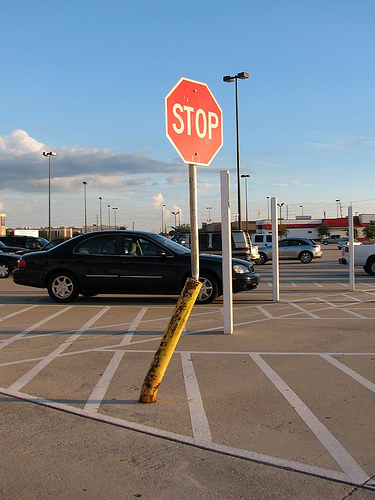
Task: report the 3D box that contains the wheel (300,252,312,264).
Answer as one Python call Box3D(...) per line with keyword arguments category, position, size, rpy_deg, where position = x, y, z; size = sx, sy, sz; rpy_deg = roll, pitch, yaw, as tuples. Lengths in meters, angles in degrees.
Box3D(category="wheel", position=(8.293, 0.477, 28.339), size=(0.758, 0.742, 0.249), rpy_deg=(-5, 0, -4))

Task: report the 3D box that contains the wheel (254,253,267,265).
Box3D(category="wheel", position=(4.695, 0.510, 26.346), size=(0.778, 0.761, 0.252), rpy_deg=(8, 1, -8))

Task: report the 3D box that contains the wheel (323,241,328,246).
Box3D(category="wheel", position=(25.678, -1.358, 75.432), size=(0.865, 0.845, 0.222), rpy_deg=(0, 0, -8))

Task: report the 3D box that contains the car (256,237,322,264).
Box3D(category="car", position=(7.242, -0.030, 28.224), size=(4.605, 1.691, 1.960), rpy_deg=(2, -1, 3))

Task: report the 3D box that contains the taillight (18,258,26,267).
Box3D(category="taillight", position=(-4.394, 0.324, 10.729), size=(0.248, 0.234, 0.160), rpy_deg=(-1, 2, -6))

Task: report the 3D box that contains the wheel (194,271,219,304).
Box3D(category="wheel", position=(0.414, 0.940, 10.003), size=(0.711, 0.697, 0.243), rpy_deg=(11, -1, 26))

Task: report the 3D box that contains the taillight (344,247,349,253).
Box3D(category="taillight", position=(7.144, -0.040, 18.153), size=(0.173, 0.168, 0.166), rpy_deg=(-1, 1, -43))

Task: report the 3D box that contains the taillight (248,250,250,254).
Box3D(category="taillight", position=(3.315, 0.076, 21.881), size=(0.132, 0.121, 0.218), rpy_deg=(-5, -40, 10))

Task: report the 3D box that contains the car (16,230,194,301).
Box3D(category="car", position=(-2.198, 0.407, 10.821), size=(4.457, 1.375, 1.857), rpy_deg=(-4, -2, 3))

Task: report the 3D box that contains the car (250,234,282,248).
Box3D(category="car", position=(6.040, -0.588, 31.022), size=(2.200, 1.160, 1.306), rpy_deg=(-4, 7, 4))

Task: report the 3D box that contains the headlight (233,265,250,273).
Box3D(category="headlight", position=(1.350, 0.464, 10.139), size=(0.415, 0.188, 0.201), rpy_deg=(-1, 3, -19))

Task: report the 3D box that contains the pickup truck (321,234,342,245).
Box3D(category="pickup truck", position=(26.768, -2.018, 75.718), size=(2.796, 1.412, 1.697), rpy_deg=(2, 2, 4))

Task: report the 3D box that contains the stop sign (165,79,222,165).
Box3D(category="stop sign", position=(0.092, -1.309, 4.191), size=(0.154, 0.873, 0.945), rpy_deg=(2, 3, 32))

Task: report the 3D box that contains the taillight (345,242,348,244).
Box3D(category="taillight", position=(14.218, -0.662, 36.288), size=(0.098, 0.072, 0.377), rpy_deg=(5, 23, 9))
